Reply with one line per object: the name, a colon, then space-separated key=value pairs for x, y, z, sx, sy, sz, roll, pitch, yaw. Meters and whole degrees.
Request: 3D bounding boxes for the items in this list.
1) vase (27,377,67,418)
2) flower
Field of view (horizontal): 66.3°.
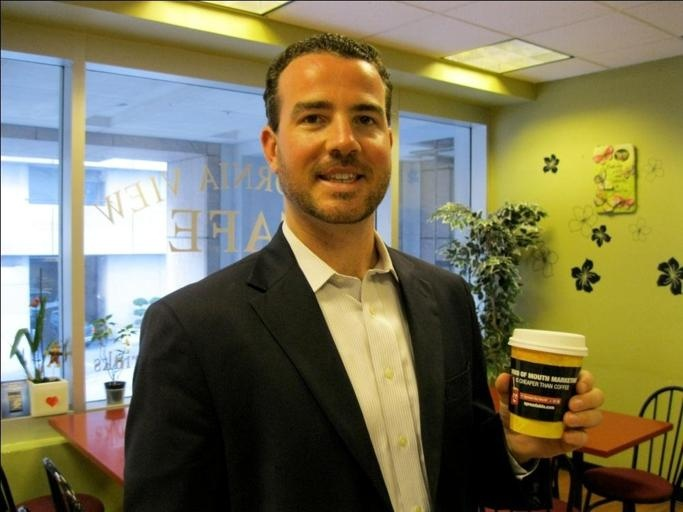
vase: x=-1.626 y=0.788 z=2.911 sx=0.213 sy=0.191 sz=0.201 roll=1 pitch=-7 yaw=-32
flower: x=-1.715 y=0.392 z=2.915 sx=0.101 sy=0.631 sz=0.290 roll=2 pitch=5 yaw=39
